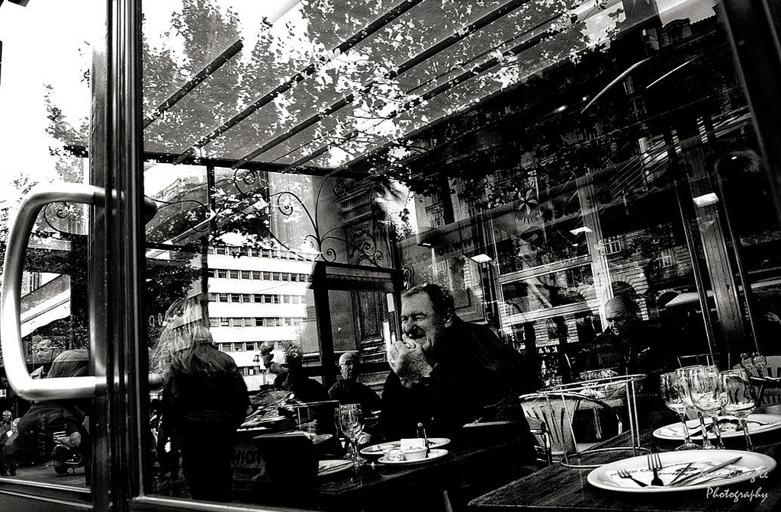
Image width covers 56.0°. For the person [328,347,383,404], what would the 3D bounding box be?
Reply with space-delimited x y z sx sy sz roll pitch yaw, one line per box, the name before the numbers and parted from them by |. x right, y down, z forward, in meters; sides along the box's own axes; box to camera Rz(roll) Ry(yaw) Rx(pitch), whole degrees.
person | -0.323 1.133 6.731 0.329 0.574 1.096 -10 -13 10

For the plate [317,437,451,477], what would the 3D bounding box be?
plate | -0.028 0.871 3.185 0.491 0.091 0.825 -11 -13 19

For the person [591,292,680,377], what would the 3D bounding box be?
person | 2.364 0.761 7.308 0.774 0.807 0.329 -13 -14 23

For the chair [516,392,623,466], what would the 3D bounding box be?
chair | 0.706 0.691 2.708 0.262 0.324 0.271 -5 -27 12
